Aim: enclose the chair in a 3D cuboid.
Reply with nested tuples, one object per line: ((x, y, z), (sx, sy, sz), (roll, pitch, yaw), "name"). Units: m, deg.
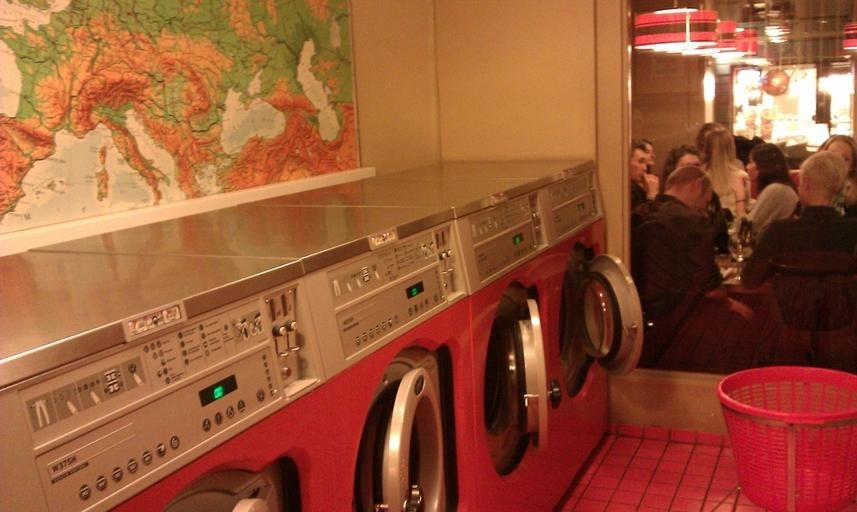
((1.970, -0.028, 3.355), (0.927, 1.625, 1.206), (1, 7, 34), "chair")
